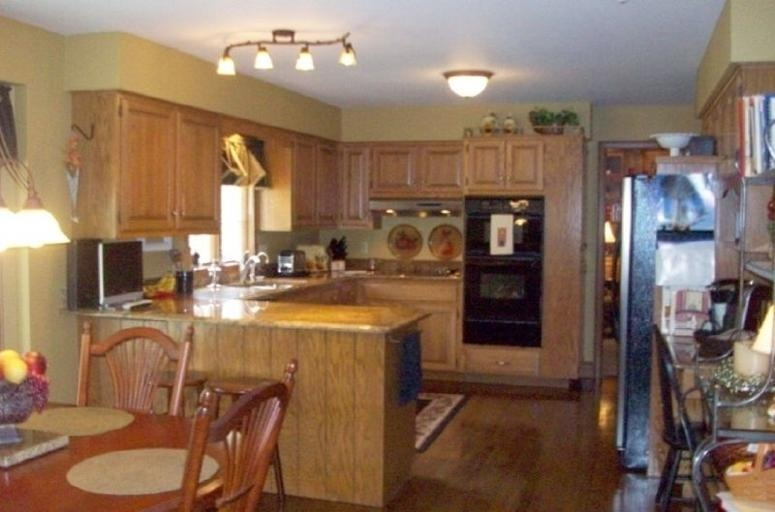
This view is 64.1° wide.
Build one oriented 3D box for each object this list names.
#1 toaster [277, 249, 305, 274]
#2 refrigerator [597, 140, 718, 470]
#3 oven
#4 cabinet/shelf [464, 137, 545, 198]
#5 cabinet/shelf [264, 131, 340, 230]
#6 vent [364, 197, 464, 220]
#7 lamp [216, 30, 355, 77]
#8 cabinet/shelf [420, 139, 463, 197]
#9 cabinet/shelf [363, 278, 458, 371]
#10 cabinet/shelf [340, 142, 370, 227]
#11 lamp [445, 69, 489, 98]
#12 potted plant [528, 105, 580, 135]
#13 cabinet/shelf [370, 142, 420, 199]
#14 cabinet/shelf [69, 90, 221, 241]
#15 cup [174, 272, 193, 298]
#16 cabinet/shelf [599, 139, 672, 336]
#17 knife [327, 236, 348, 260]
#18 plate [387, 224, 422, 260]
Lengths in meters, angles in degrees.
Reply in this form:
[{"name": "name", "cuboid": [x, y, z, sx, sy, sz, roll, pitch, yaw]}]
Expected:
[{"name": "toaster", "cuboid": [-1.000, 0.068, 6.439, 0.316, 0.253, 0.194, 0, 2, 5]}, {"name": "refrigerator", "cuboid": [2.075, 0.359, 4.411, 0.686, 2.139, 0.551, -6, -24, 44]}, {"name": "oven", "cuboid": [1.434, 0.236, 6.673, 1.037, 1.623, 0.943, -1, -7, 38]}, {"name": "cabinet/shelf", "cuboid": [1.319, -0.993, 6.578, 0.894, 0.559, 0.470, 5, 15, 26]}, {"name": "cabinet/shelf", "cuboid": [-0.947, -0.778, 6.774, 0.456, 0.963, 1.196, 3, 8, 15]}, {"name": "vent", "cuboid": [0.335, -0.552, 6.991, 1.042, 0.220, 0.456, 1, 7, 8]}, {"name": "lamp", "cuboid": [-0.715, -1.446, 4.354, 0.985, 0.240, 0.125, -3, 12, 5]}, {"name": "cabinet/shelf", "cuboid": [0.645, -1.070, 6.947, 0.584, 0.700, 0.425, -3, 39, 2]}, {"name": "cabinet/shelf", "cuboid": [0.193, 0.689, 6.946, 1.267, 1.103, 0.784, 0, 10, -2]}, {"name": "cabinet/shelf", "cuboid": [-0.432, -0.800, 7.076, 0.105, 0.978, 0.374, 5, 10, 36]}, {"name": "lamp", "cuboid": [0.727, -1.541, 5.552, 0.442, 0.200, 0.474, 0, 7, 4]}, {"name": "potted plant", "cuboid": [1.758, -1.424, 6.433, 0.417, 0.225, 0.429, 0, 1, 12]}, {"name": "cabinet/shelf", "cuboid": [0.078, -0.978, 7.088, 0.635, 0.576, 0.481, 0, -4, 5]}, {"name": "cabinet/shelf", "cuboid": [-1.932, -0.722, 5.055, 0.540, 1.067, 1.339, 4, 5, 14]}, {"name": "cup", "cuboid": [-1.669, 0.216, 5.078, 0.138, 0.188, 0.150, -1, 7, 0]}, {"name": "cabinet/shelf", "cuboid": [3.446, -0.251, 8.575, 0.767, 2.888, 0.980, -5, 8, 16]}, {"name": "knife", "cuboid": [-0.585, -0.106, 7.292, 0.223, 0.265, 0.137, 2, -15, -5]}, {"name": "plate", "cuboid": [0.212, -0.175, 7.329, 0.402, 0.419, 0.087, 2, 8, 21]}]
